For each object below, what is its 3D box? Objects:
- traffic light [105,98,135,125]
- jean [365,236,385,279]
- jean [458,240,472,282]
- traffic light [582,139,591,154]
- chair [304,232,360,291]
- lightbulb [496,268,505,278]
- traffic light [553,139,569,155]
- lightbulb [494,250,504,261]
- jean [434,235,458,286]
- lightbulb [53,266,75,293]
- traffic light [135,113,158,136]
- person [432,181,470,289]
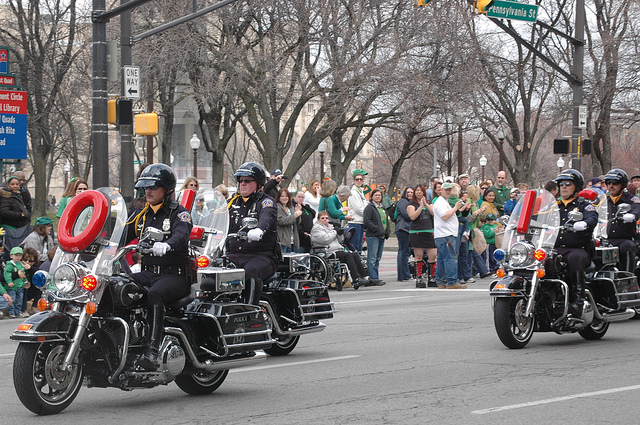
[{"bbox_3d":[-4.813,-2.426,20.986,0.423,0.718,0.758,8,6,40],"label":"traffic light"},{"bbox_3d":[1.416,1.167,22.426,0.465,1.166,0.609,-1,6,3],"label":"jean"},{"bbox_3d":[3.808,1.297,23.139,0.327,1.130,0.675,0,6,9],"label":"jean"},{"bbox_3d":[8.663,-2.146,28.488,0.260,0.430,0.652,1,5,15],"label":"traffic light"},{"bbox_3d":[0.149,1.146,20.163,1.422,1.119,0.818,2,10,11],"label":"chair"},{"bbox_3d":[2.916,0.973,14.075,0.135,0.154,0.156,-1,-19,22],"label":"lightbulb"},{"bbox_3d":[7.660,-2.090,27.958,0.402,0.489,0.847,3,7,38],"label":"traffic light"},{"bbox_3d":[2.832,0.703,13.915,0.122,0.167,0.287,1,6,23],"label":"lightbulb"},{"bbox_3d":[3.103,1.191,21.536,0.512,1.348,0.877,0,6,8],"label":"jean"},{"bbox_3d":[-3.167,0.838,10.861,0.286,0.310,0.105,2,6,26],"label":"lightbulb"},{"bbox_3d":[-4.328,-2.213,21.825,0.658,0.582,0.346,-1,-1,-5],"label":"traffic light"},{"bbox_3d":[3.179,0.615,21.484,0.764,2.649,0.907,0,6,8],"label":"person"}]
